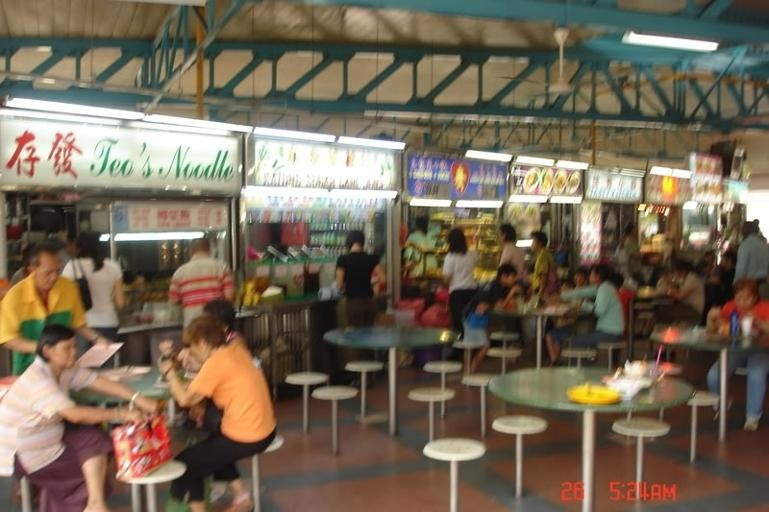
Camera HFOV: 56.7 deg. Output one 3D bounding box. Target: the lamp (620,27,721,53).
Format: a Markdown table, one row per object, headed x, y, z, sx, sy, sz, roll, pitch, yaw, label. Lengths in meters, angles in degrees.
| x | y | z | sx | sy | sz | roll | pitch | yaw | label |
| --- | --- | --- | --- | --- | --- | --- | --- | --- | --- |
| 4.318 | -3.236 | 10.647 | 0.966 | 0.077 | 0.162 | 9 | -30 | -3 | lamp |

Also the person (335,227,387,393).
| x | y | z | sx | sy | sz | roll | pitch | yaw | label |
| --- | --- | --- | --- | --- | --- | --- | --- | --- | --- |
| -0.284 | 0.609 | 9.909 | 0.635 | 2.039 | 0.580 | -1 | 17 | 3 | person |

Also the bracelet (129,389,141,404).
| x | y | z | sx | sy | sz | roll | pitch | yaw | label |
| --- | --- | --- | --- | --- | --- | --- | --- | --- | --- |
| -2.181 | 1.221 | 6.193 | 0.057 | 0.112 | 0.021 | 18 | -23 | 45 | bracelet |

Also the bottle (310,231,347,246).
| x | y | z | sx | sy | sz | roll | pitch | yaw | label |
| --- | --- | --- | --- | --- | --- | --- | --- | --- | --- |
| -0.823 | -0.268 | 10.512 | 0.500 | 0.197 | 0.166 | -7 | 12 | -42 | bottle |

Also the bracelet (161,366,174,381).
| x | y | z | sx | sy | sz | roll | pitch | yaw | label |
| --- | --- | --- | --- | --- | --- | --- | --- | --- | --- |
| -1.917 | 1.025 | 6.282 | 0.038 | 0.153 | 0.156 | 16 | -5 | -35 | bracelet |

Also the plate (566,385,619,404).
| x | y | z | sx | sy | sz | roll | pitch | yaw | label |
| --- | --- | --- | --- | --- | --- | --- | --- | --- | --- |
| 1.786 | 1.168 | 6.079 | 0.447 | 0.128 | 0.321 | 0 | 2 | 17 | plate |

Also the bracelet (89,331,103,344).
| x | y | z | sx | sy | sz | roll | pitch | yaw | label |
| --- | --- | --- | --- | --- | --- | --- | --- | --- | --- |
| -2.886 | 0.806 | 7.115 | 0.139 | 0.144 | 0.035 | -19 | 23 | 41 | bracelet |

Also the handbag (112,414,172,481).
| x | y | z | sx | sy | sz | roll | pitch | yaw | label |
| --- | --- | --- | --- | --- | --- | --- | --- | --- | --- |
| -2.007 | 1.575 | 5.859 | 0.164 | 0.476 | 0.477 | -1 | 1 | 42 | handbag |

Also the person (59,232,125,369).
| x | y | z | sx | sy | sz | roll | pitch | yaw | label |
| --- | --- | --- | --- | --- | --- | --- | --- | --- | --- |
| -3.417 | 0.697 | 8.596 | 0.666 | 1.959 | 0.588 | 5 | 20 | -2 | person |

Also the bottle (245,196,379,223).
| x | y | z | sx | sy | sz | roll | pitch | yaw | label |
| --- | --- | --- | --- | --- | --- | --- | --- | --- | --- |
| -1.084 | -0.668 | 10.221 | 1.988 | 0.343 | 0.239 | -2 | 2 | -42 | bottle |
